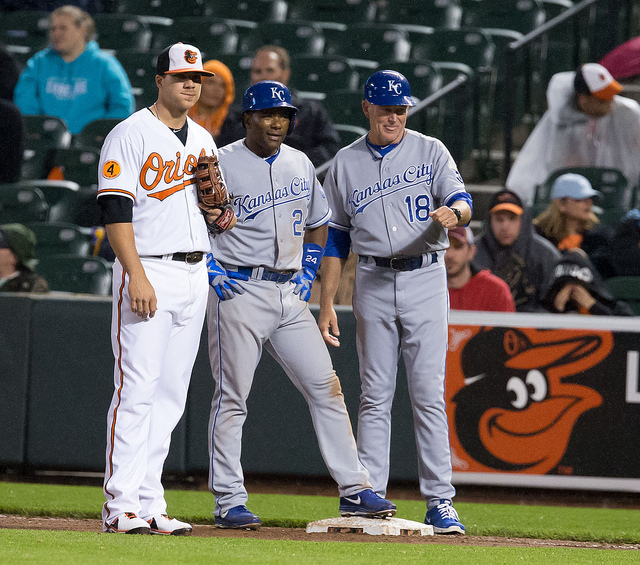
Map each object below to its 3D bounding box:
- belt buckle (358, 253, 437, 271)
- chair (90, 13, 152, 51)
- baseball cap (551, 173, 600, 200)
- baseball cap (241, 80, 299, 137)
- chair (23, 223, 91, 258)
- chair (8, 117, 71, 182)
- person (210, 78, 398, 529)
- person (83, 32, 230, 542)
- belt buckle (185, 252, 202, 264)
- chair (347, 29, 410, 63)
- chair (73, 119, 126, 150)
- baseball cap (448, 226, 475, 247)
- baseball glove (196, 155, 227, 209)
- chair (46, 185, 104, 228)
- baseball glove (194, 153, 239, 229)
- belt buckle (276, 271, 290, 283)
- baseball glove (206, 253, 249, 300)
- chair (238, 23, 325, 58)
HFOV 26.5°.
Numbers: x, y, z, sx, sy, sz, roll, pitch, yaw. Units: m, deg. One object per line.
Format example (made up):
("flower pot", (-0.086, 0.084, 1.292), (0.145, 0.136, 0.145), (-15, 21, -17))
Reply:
("belt buckle", (0.371, -0.095, 6.422), (0.364, 0.082, 0.114), (0, 3, 2))
("chair", (-1.593, -2.004, 10.908), (0.279, 0.453, 0.466), (7, 18, 31))
("baseball cap", (1.374, -0.515, 7.379), (0.202, 0.102, 0.148), (0, 5, 19))
("baseball cap", (-0.208, -0.787, 6.259), (0.230, 0.239, 0.296), (3, -10, -22))
("chair", (-1.608, -0.257, 8.283), (0.267, 0.218, 0.331), (-5, 4, 14))
("chair", (-1.951, -0.915, 9.321), (0.403, 0.498, 0.442), (1, 3, 2))
("person", (-0.146, 0.106, 6.321), (0.730, 2.044, 0.348), (0, 4, -5))
("person", (-0.694, 0.033, 6.053), (0.336, 2.164, 0.614), (4, 5, 44))
("belt buckle", (-0.565, -0.106, 6.068), (0.018, 0.050, 0.094), (3, 4, 38))
("chair", (0.461, -1.770, 10.234), (0.328, 0.295, 0.173), (5, -28, 17))
("chair", (-1.583, -1.025, 9.431), (0.491, 0.208, 0.196), (3, 5, 44))
("baseball cap", (0.763, -0.250, 7.307), (0.111, 0.103, 0.186), (14, 1, 16))
("baseball glove", (-0.483, -0.437, 6.053), (0.139, 0.205, 0.082), (-6, 9, -9))
("chair", (-1.611, -0.474, 8.816), (0.331, 0.242, 0.338), (-1, 4, -11))
("baseball glove", (-0.468, -0.397, 6.164), (0.218, 0.297, 0.120), (-5, 5, 11))
("belt buckle", (-0.172, -0.022, 6.296), (0.067, 0.052, 0.013), (-2, 4, -35))
("baseball glove", (-0.452, -0.020, 6.227), (0.219, 0.157, 0.063), (34, -21, -7))
("chair", (-0.304, -1.882, 10.617), (0.726, 0.299, 0.550), (1, 4, 11))
